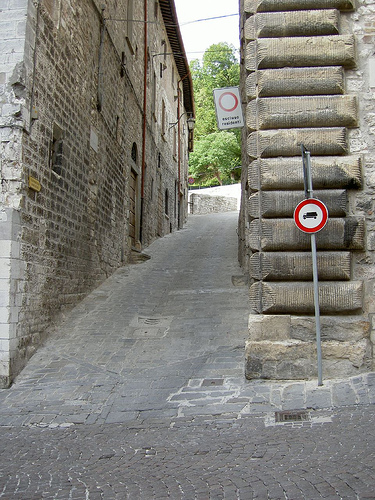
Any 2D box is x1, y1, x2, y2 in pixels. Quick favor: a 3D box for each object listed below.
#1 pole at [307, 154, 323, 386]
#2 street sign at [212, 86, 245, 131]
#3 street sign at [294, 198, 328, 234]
[{"bbox_3d":[1.270,0.155,4.823,0.070,2.219,0.783,-2,8,15],"label":"pole"},{"bbox_3d":[0.553,-1.924,6.447,0.379,0.572,0.405,-4,7,-1],"label":"street sign"},{"bbox_3d":[1.244,-0.337,4.886,0.334,0.418,0.040,-1,-29,13],"label":"street sign"}]
